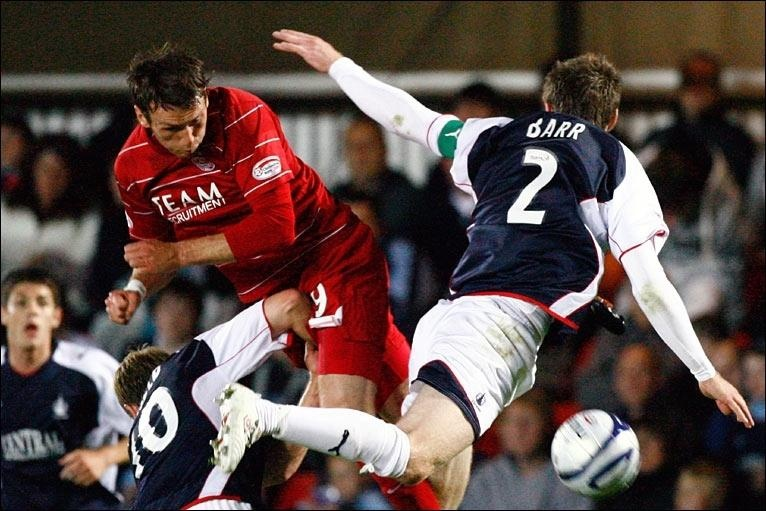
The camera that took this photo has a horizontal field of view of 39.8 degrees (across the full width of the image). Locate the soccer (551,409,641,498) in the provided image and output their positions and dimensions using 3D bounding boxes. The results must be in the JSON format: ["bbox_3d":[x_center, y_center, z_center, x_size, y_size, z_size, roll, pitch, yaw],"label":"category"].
[{"bbox_3d":[1.160,1.157,6.151,0.480,0.467,0.244,0,15,11],"label":"soccer"}]
